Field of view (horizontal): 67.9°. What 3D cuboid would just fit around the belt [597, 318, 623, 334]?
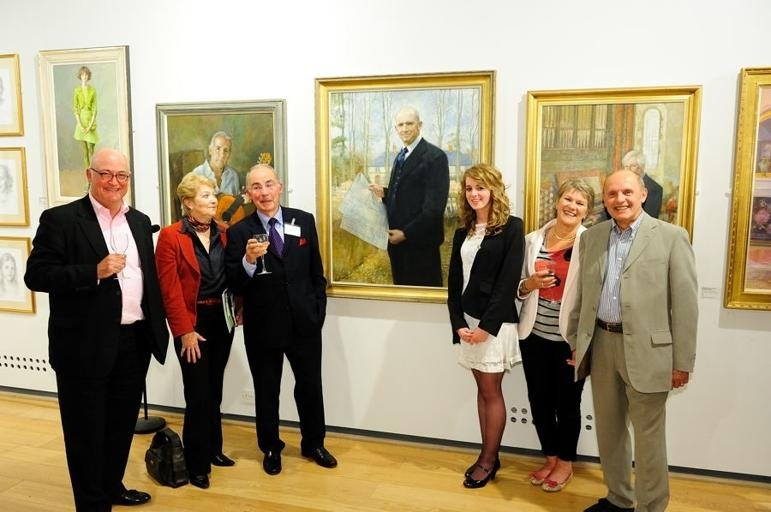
[{"bbox_3d":[1.667,0.506,4.219,0.119,0.035,0.118,8,10,40],"label":"belt"}]

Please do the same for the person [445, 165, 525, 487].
[{"bbox_3d":[0.802,0.577,4.694,0.604,2.618,0.421,2,9,12],"label":"person"}]

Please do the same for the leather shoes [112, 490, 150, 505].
[{"bbox_3d":[-2.025,1.923,4.628,0.302,0.129,0.114,1,8,-8],"label":"leather shoes"}]

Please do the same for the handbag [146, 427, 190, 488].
[{"bbox_3d":[-1.811,1.697,4.784,0.240,0.431,0.439,-4,8,-39],"label":"handbag"}]

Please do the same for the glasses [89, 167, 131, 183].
[{"bbox_3d":[-2.042,-0.589,4.204,0.292,0.109,0.098,1,9,5],"label":"glasses"}]

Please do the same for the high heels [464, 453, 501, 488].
[{"bbox_3d":[0.798,1.791,4.785,0.301,0.155,0.161,-17,12,-28],"label":"high heels"}]

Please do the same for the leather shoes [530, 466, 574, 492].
[{"bbox_3d":[1.397,1.814,4.704,0.227,0.062,0.167,3,1,-34],"label":"leather shoes"}]

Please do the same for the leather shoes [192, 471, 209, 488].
[{"bbox_3d":[-1.528,1.846,4.740,0.193,0.085,0.070,-1,-3,39],"label":"leather shoes"}]

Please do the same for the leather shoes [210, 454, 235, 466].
[{"bbox_3d":[-1.421,1.782,5.051,0.220,0.097,0.084,3,1,5],"label":"leather shoes"}]
